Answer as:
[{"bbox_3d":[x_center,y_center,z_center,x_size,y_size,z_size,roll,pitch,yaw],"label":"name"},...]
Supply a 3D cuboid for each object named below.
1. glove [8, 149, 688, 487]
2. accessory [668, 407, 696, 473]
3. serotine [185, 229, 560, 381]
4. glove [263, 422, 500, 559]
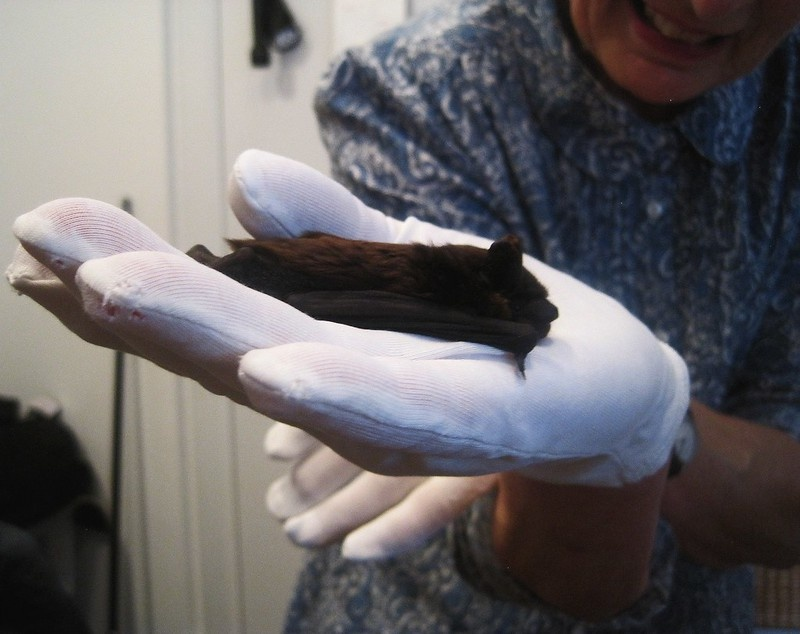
[{"bbox_3d":[-0.031,0.075,0.890,0.481,0.144,0.286,13,13,-29],"label":"glove"},{"bbox_3d":[0.249,0.106,0.976,0.012,0.039,0.048,18,77,25],"label":"accessory"},{"bbox_3d":[-0.012,-0.026,0.876,0.201,0.064,0.138,18,-1,-12],"label":"serotine"},{"bbox_3d":[-0.026,0.145,1.042,0.179,0.132,0.045,11,79,-6],"label":"glove"}]
